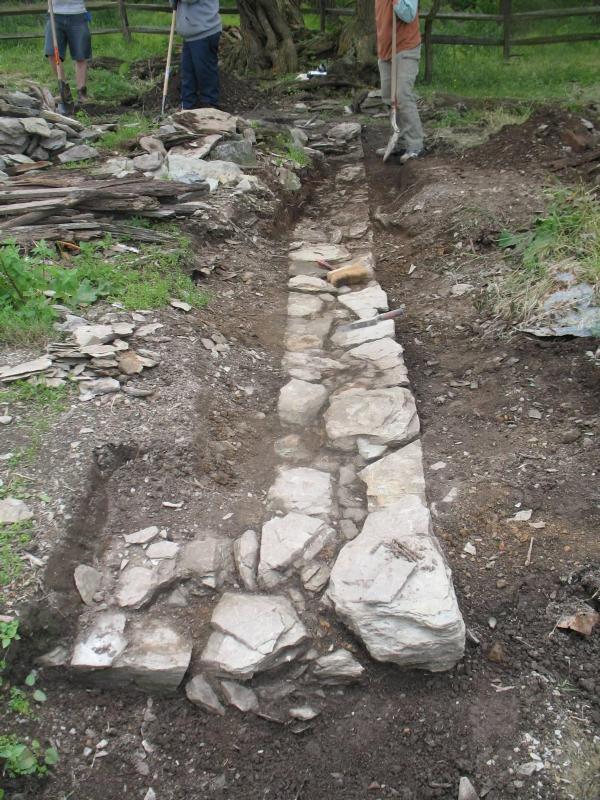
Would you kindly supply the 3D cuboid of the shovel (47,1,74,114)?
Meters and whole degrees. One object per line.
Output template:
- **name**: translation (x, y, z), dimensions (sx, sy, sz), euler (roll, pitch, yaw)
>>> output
- **shovel**: translation (-3.000, -4.228, 8.334), dimensions (0.151, 1.278, 1.100), euler (-8, 20, -17)
